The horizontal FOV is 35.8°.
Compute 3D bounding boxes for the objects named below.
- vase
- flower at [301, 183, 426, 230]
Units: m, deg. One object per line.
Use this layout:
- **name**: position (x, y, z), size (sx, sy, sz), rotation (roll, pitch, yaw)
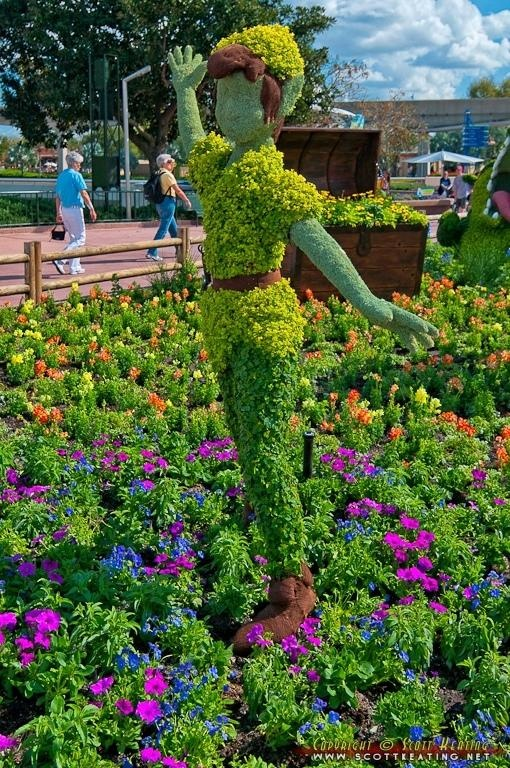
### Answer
- **vase**: position (1.046, -1.243, 8.039), size (1.628, 0.784, 0.288), rotation (-6, 19, -32)
- **flower**: position (1.142, -1.757, 8.140), size (1.281, 0.282, 0.518), rotation (-5, 18, -30)
